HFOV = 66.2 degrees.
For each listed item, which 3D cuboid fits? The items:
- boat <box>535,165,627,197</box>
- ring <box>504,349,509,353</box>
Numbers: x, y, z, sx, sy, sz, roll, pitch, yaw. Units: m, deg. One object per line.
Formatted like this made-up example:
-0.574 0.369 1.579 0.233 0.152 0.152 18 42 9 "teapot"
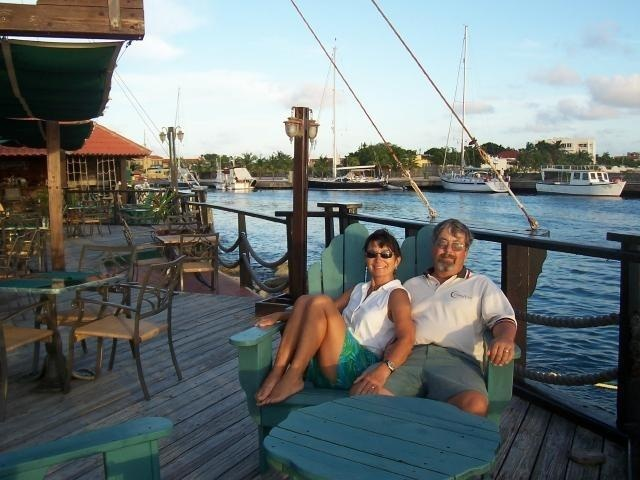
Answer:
27.607 -6.058 52.071 4.445 2.943 8.117 -6 12 -19 "boat"
1.008 0.595 2.615 0.025 0.017 0.008 3 13 23 "ring"
